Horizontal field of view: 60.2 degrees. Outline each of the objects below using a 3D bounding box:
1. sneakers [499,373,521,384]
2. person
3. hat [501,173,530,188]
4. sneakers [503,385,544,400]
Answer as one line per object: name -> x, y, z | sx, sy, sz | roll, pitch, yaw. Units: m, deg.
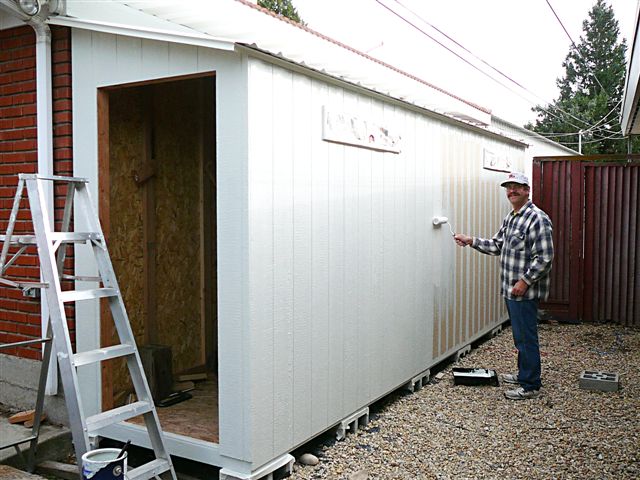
sneakers -> 2.158, 1.562, 6.306 | 0.238, 0.102, 0.097 | 5, 5, 15
person -> 2.064, 0.491, 5.869 | 0.671, 2.364, 0.689 | 1, 6, 11
hat -> 2.046, -0.619, 5.779 | 0.209, 0.138, 0.283 | -1, 6, -5
sneakers -> 2.148, 1.611, 5.833 | 0.367, 0.160, 0.137 | 3, 0, -4
